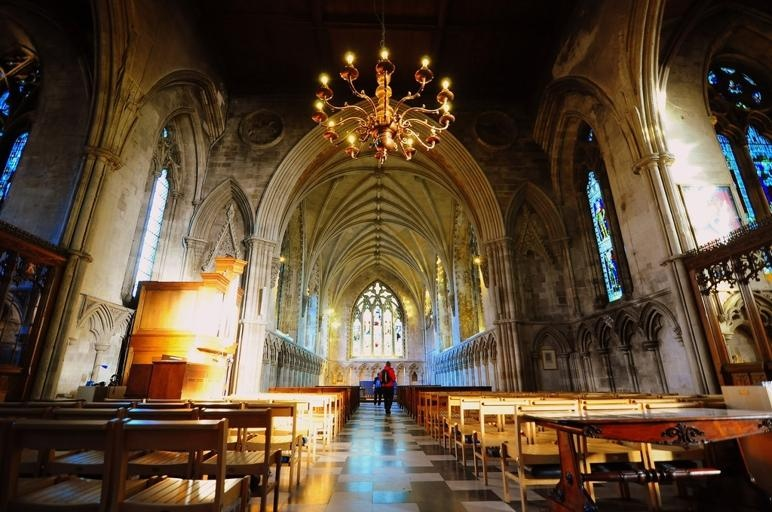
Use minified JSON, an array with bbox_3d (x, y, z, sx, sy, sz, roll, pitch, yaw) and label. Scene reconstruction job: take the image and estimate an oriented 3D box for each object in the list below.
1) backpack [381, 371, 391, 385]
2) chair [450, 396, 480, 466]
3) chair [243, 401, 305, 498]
[{"bbox_3d":[0.007,4.342,15.851,0.337,0.478,0.537,2,-24,-4],"label":"backpack"},{"bbox_3d":[1.564,3.156,8.025,0.537,0.816,0.518,-14,-9,36],"label":"chair"},{"bbox_3d":[-1.690,2.833,6.788,0.756,1.168,0.809,-3,-13,6],"label":"chair"}]
